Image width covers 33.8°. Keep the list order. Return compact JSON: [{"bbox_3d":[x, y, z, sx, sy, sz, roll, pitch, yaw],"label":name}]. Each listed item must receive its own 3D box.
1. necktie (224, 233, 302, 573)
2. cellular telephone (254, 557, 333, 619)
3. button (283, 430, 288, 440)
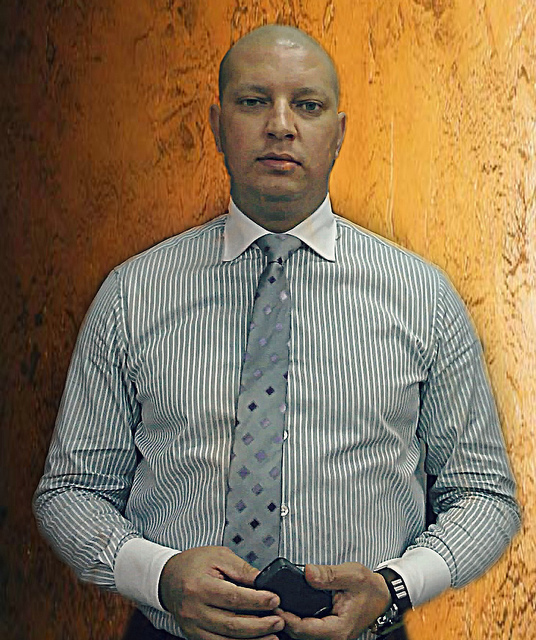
[{"bbox_3d":[-0.011,0.102,1.262,0.070,0.442,0.019,1,-17,2],"label":"necktie"},{"bbox_3d":[0.037,0.340,1.191,0.116,0.066,0.016,15,2,-14],"label":"cellular telephone"},{"bbox_3d":[0.025,0.153,1.287,0.005,0.012,0.002,6,-8,-17],"label":"button"}]
